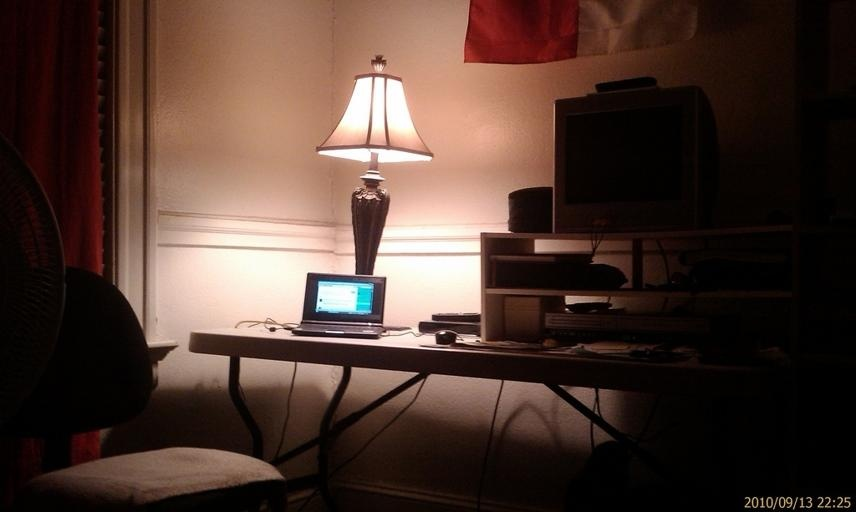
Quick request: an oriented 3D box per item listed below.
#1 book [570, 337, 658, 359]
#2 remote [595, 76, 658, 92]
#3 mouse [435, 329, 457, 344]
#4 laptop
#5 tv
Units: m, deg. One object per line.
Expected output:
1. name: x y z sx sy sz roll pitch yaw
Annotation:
1. book: 0.719 0.360 2.493 0.310 0.040 0.227 0 -3 18
2. remote: 0.866 -0.742 2.754 0.201 0.042 0.181 0 4 34
3. mouse: 0.068 0.329 2.644 0.064 0.035 0.061 2 1 3
4. laptop: -0.388 0.221 2.870 0.393 0.235 0.225 3 5 2
5. tv: 0.969 -0.365 2.937 0.688 0.626 0.648 0 0 26
